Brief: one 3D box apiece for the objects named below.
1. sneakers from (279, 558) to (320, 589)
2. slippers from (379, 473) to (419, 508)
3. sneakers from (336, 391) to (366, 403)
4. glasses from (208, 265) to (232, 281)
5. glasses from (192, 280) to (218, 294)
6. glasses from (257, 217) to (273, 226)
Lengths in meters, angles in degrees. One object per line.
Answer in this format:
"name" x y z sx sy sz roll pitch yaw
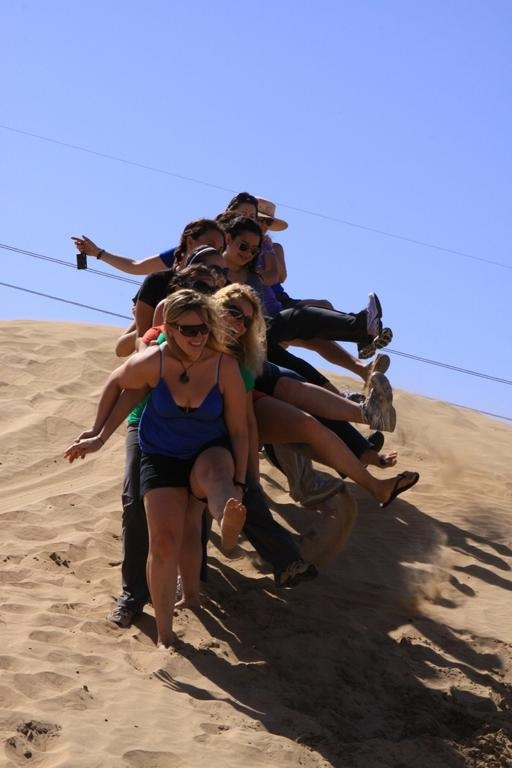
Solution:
"sneakers" 0.225 0.997 3.888 0.289 0.184 0.097 -13 -23 38
"slippers" 0.806 0.593 4.205 0.142 0.204 0.236 12 4 9
"sneakers" 0.655 0.089 4.918 0.141 0.048 0.087 5 -3 -36
"glasses" -0.198 -0.589 3.966 0.100 0.091 0.030 7 11 -38
"glasses" -0.256 -0.484 3.734 0.104 0.030 0.099 15 5 35
"glasses" 0.077 -1.410 6.494 0.102 0.030 0.096 1 -3 34
